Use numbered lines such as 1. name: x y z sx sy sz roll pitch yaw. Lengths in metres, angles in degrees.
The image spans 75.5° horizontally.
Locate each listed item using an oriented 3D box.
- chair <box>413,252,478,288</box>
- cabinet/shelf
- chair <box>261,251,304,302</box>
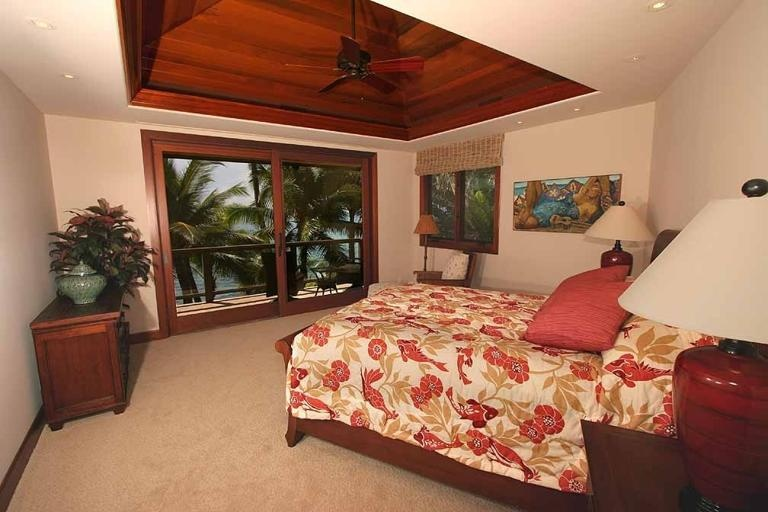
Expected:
1. chair: 0.830 0.193 6.667 0.623 0.725 0.510 4 2 -22
2. cabinet/shelf: -2.837 0.961 4.724 0.719 1.121 0.696 -3 8 -25
3. chair: -1.435 0.229 6.962 0.617 0.826 0.595 1 3 31
